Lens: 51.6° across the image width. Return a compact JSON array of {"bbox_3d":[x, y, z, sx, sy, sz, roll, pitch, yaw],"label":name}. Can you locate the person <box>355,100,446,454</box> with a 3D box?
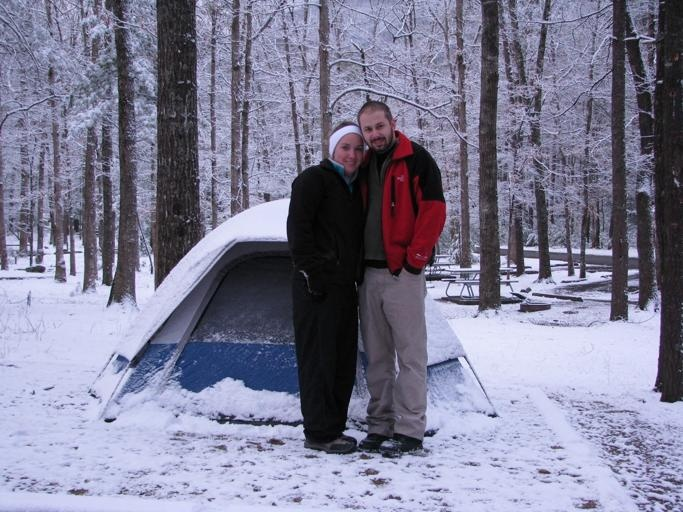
[{"bbox_3d":[0.704,0.240,8.533,0.967,4.210,0.414,0,1,-1],"label":"person"}]

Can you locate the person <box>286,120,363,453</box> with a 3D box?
[{"bbox_3d":[-0.177,0.353,8.542,0.932,3.993,0.439,0,1,1],"label":"person"}]

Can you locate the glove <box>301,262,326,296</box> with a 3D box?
[{"bbox_3d":[-0.319,0.287,8.409,0.254,0.346,0.131,-6,2,1],"label":"glove"}]
